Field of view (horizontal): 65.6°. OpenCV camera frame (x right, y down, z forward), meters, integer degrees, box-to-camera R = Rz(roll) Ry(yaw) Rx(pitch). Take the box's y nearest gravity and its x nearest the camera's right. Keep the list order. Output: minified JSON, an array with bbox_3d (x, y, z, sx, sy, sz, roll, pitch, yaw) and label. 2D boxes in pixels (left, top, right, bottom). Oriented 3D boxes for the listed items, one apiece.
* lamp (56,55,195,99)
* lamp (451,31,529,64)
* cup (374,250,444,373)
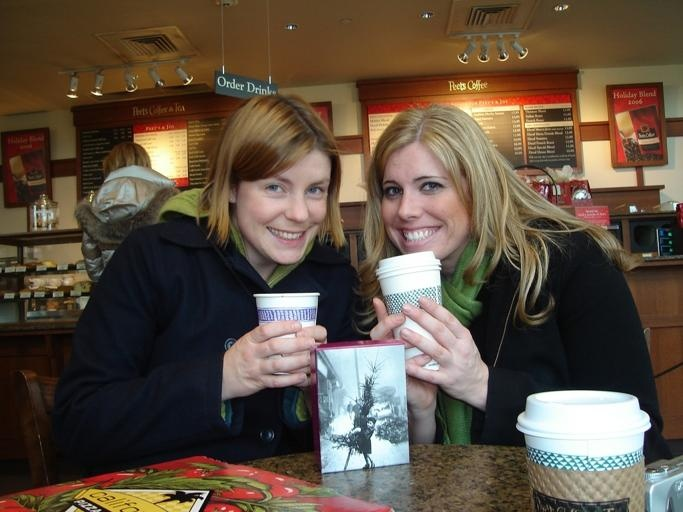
[{"bbox_3d":[-2.245,-1.867,5.745,1.487,0.301,0.805,-5,9,3],"label":"lamp"},{"bbox_3d":[1.536,-2.049,5.362,0.683,0.259,0.869,-2,9,19],"label":"lamp"},{"bbox_3d":[0.191,0.157,1.479,0.184,0.313,0.227,-4,9,9],"label":"cup"}]
